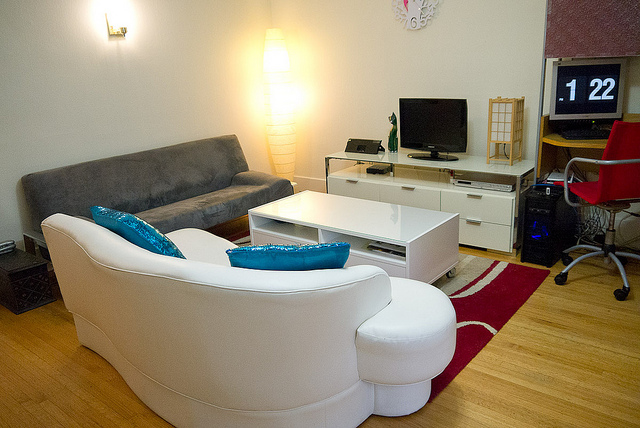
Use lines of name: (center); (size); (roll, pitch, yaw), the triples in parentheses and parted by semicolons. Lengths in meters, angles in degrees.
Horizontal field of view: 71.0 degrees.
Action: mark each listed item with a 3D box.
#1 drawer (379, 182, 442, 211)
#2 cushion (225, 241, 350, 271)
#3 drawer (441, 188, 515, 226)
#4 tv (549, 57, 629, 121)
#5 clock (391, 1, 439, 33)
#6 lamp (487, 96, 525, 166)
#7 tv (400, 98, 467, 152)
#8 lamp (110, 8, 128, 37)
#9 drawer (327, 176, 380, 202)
drawer: (1.045, -0.133, 4.836); (0.854, 0.269, 0.407); (-1, 2, -29)
cushion: (-0.182, 0.240, 2.541); (0.675, 0.155, 0.203); (-4, 18, -5)
drawer: (1.620, -0.117, 4.464); (0.749, 0.327, 0.542); (6, 20, 39)
tv: (2.375, -1.097, 3.924); (0.541, 0.489, 0.058); (4, 14, 23)
clock: (1.012, -2.111, 4.811); (0.517, 0.302, 0.035); (10, 22, 34)
lamp: (1.826, -0.815, 4.414); (0.339, 0.627, 0.397); (6, 20, 24)
tv: (1.191, -0.915, 4.751); (0.787, 0.604, 0.237); (15, 31, 41)
lamp: (-2.022, -1.955, 4.572); (0.055, 0.251, 0.180); (14, 24, 42)
drawer: (0.385, -0.279, 4.963); (0.493, 0.345, 0.290); (10, 17, 36)
